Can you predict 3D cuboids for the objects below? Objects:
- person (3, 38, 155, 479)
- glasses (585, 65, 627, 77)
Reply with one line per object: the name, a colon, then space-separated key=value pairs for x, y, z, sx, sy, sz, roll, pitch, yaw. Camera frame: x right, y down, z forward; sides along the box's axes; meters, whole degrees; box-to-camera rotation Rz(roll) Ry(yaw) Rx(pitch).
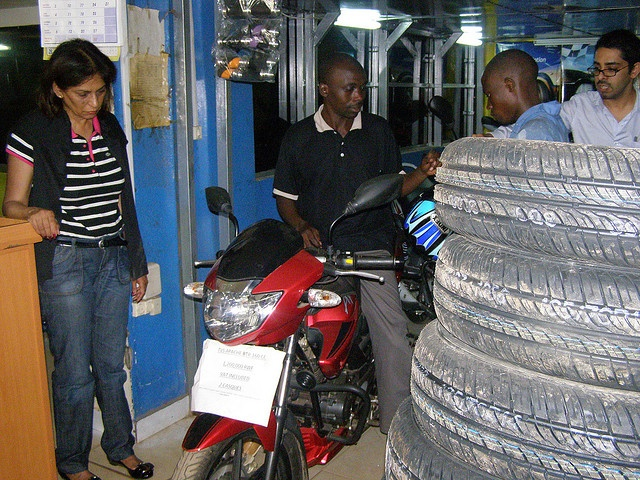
person: x=-1.188 y=0.184 z=2.796 sx=0.628 sy=2.289 sz=0.337 roll=-10 pitch=16 yaw=-35
glasses: x=1.779 y=-1.057 z=3.466 sx=0.147 sy=0.081 sz=0.295 roll=-2 pitch=13 yaw=-5
